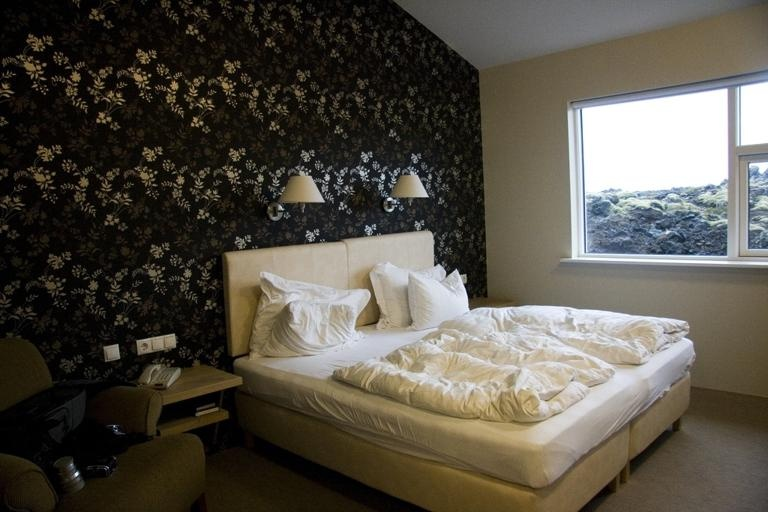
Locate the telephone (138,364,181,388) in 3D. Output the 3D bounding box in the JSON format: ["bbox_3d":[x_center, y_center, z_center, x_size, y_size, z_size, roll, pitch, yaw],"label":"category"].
[{"bbox_3d":[-1.666,0.888,3.951,0.174,0.088,0.190,1,14,6],"label":"telephone"}]

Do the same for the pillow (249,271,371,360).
[{"bbox_3d":[-0.578,0.572,4.579,0.508,0.405,1.064,19,12,38],"label":"pillow"}]

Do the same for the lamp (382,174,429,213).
[{"bbox_3d":[0.229,-0.589,5.362,0.409,0.372,0.398,2,5,41],"label":"lamp"}]

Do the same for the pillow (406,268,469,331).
[{"bbox_3d":[0.481,0.410,4.924,0.520,0.360,0.197,-5,-1,-37],"label":"pillow"}]

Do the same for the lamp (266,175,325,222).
[{"bbox_3d":[-0.776,-0.506,4.607,0.383,0.381,0.339,-4,4,-37],"label":"lamp"}]

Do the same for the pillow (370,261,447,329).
[{"bbox_3d":[0.091,0.358,5.032,0.584,0.652,0.186,0,0,-30],"label":"pillow"}]
